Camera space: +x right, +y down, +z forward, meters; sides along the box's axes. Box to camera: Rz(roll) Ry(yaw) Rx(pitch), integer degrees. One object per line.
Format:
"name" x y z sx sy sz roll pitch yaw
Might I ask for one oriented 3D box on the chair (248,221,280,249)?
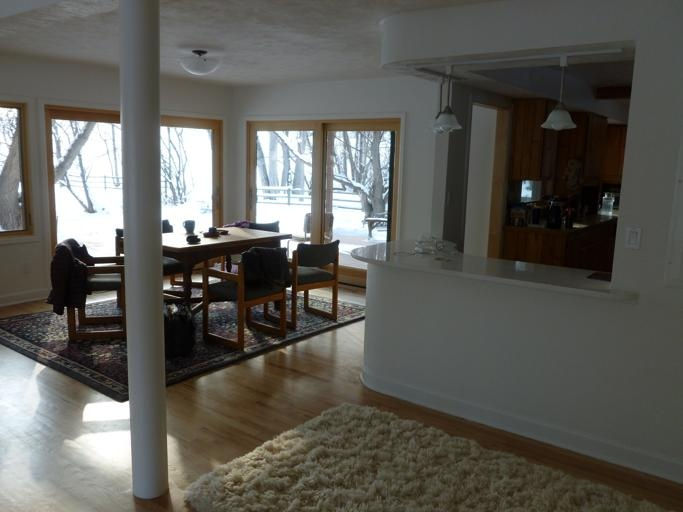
"chair" -1.060 -0.319 7.173 0.395 0.596 0.457 -1 7 -17

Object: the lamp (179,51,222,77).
"lamp" -1.656 -2.276 5.961 0.425 0.201 0.633 -3 15 -16

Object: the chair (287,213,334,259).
"chair" -0.505 -0.374 8.384 0.590 1.145 0.635 2 3 36

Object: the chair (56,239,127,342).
"chair" -2.638 0.327 5.459 0.730 0.997 0.848 1 6 -15

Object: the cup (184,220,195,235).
"cup" -1.831 -0.357 6.177 0.114 0.178 0.177 -4 6 -38

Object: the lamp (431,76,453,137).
"lamp" 0.880 -1.313 4.338 0.194 0.449 0.215 -12 17 -42

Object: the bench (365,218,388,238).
"bench" 0.499 -0.448 7.601 0.279 0.330 0.265 -3 13 -15

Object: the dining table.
"dining table" -1.529 -0.078 5.923 1.021 0.742 1.306 7 11 31
